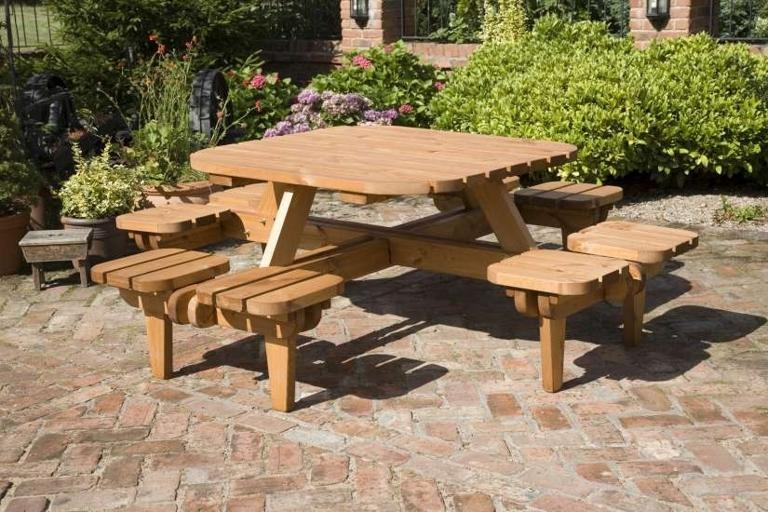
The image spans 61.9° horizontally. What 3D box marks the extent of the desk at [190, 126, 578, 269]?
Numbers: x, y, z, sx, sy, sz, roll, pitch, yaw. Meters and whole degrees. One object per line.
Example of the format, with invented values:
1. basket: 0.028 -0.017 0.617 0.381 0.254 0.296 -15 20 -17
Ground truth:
1. desk: 0.141 -0.631 4.368 2.379 0.470 1.547 7 15 31

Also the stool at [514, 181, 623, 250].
1. stool: 1.482 -0.378 5.230 0.762 0.425 0.822 11 22 31

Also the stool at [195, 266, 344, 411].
1. stool: -0.683 0.491 3.917 0.659 0.779 0.564 14 26 30
